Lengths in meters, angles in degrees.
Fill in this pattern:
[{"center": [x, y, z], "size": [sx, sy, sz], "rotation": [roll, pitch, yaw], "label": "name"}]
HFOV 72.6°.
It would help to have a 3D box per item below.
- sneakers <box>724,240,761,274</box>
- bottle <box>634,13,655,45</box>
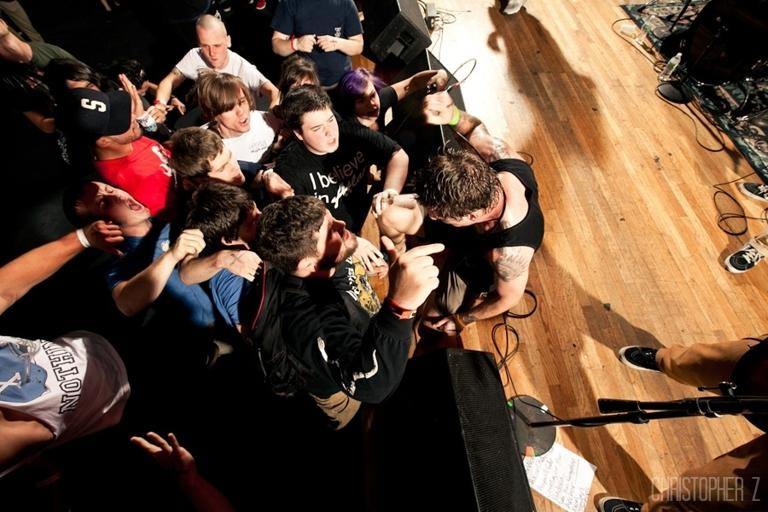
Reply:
[{"center": [3.595, 0.029, 5.215], "size": [0.296, 0.243, 0.227], "rotation": [-21, 68, -25], "label": "sneakers"}, {"center": [3.424, -2.967, 6.886], "size": [0.193, 0.165, 0.576], "rotation": [3, 50, 39], "label": "bottle"}]
